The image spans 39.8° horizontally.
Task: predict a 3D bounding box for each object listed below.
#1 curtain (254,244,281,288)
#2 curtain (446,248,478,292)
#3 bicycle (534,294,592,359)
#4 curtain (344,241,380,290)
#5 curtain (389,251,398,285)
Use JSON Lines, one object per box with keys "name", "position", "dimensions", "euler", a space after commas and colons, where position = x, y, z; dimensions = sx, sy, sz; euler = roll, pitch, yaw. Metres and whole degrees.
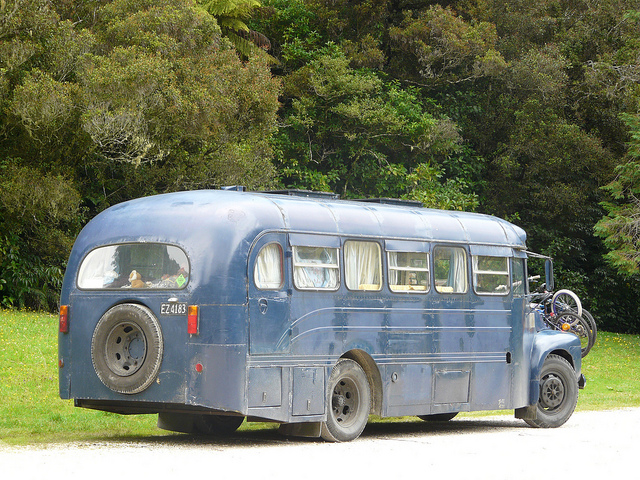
{"name": "curtain", "position": [-0.902, 0.403, 14.942], "dimensions": [0.514, 0.797, 0.087], "euler": [0, 24, -2]}
{"name": "curtain", "position": [2.646, 0.578, 17.229], "dimensions": [0.434, 0.841, 0.093], "euler": [1, -2, -37]}
{"name": "bicycle", "position": [7.011, 2.579, 24.921], "dimensions": [1.208, 1.265, 3.284], "euler": [-1, -2, 19]}
{"name": "curtain", "position": [0.827, 0.473, 16.069], "dimensions": [0.817, 1.018, 0.081], "euler": [2, -42, -5]}
{"name": "curtain", "position": [1.359, 0.529, 16.430], "dimensions": [0.046, 0.591, 0.200], "euler": [-1, -2, 43]}
